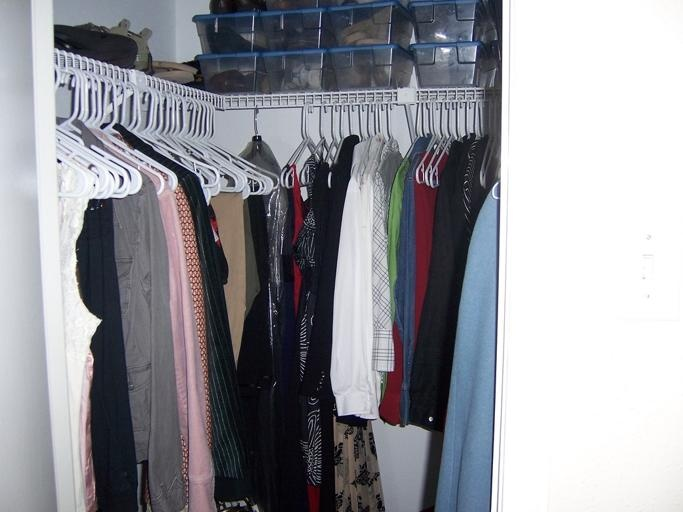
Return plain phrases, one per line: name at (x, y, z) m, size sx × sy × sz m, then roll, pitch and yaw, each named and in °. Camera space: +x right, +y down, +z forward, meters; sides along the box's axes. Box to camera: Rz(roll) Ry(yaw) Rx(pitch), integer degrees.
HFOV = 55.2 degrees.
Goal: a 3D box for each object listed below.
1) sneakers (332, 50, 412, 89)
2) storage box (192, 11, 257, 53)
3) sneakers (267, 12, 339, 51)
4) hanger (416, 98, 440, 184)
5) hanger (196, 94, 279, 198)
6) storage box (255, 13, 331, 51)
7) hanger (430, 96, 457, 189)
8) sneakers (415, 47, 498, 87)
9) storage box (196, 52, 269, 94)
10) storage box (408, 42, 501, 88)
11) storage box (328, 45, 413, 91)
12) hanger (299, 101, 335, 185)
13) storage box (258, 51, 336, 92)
sneakers at (0.087, -0.603, 2.118) m, size 0.180 × 0.088 × 0.135 m, roll 1°, pitch 9°, yaw 16°
storage box at (-0.363, -0.720, 2.158) m, size 0.119 × 0.087 × 0.191 m, roll 1°, pitch 16°, yaw 3°
sneakers at (-0.151, -0.710, 2.116) m, size 0.107 × 0.083 × 0.171 m, roll 5°, pitch 13°, yaw 21°
hanger at (0.285, -0.369, 2.144) m, size 0.014 × 0.382 × 0.221 m, roll -4°, pitch -16°, yaw 21°
hanger at (-0.341, -0.371, 2.195) m, size 0.156 × 0.250 × 0.327 m, roll -13°, pitch 22°, yaw -42°
storage box at (-0.158, -0.746, 2.179) m, size 0.158 × 0.122 × 0.223 m, roll -24°, pitch 32°, yaw -38°
hanger at (0.328, -0.356, 2.104) m, size 0.021 × 0.404 × 0.296 m, roll 4°, pitch 5°, yaw 19°
sneakers at (0.348, -0.597, 2.058) m, size 0.177 × 0.092 × 0.146 m, roll 2°, pitch 18°, yaw 10°
storage box at (-0.371, -0.600, 2.201) m, size 0.117 × 0.095 × 0.180 m, roll 3°, pitch 12°, yaw 14°
storage box at (0.347, -0.581, 2.069) m, size 0.196 × 0.101 × 0.157 m, roll 1°, pitch 16°, yaw 7°
storage box at (0.131, -0.637, 2.197) m, size 0.302 × 0.146 × 0.244 m, roll 3°, pitch 21°, yaw 18°
hanger at (-0.083, -0.397, 2.292) m, size 0.024 × 0.369 × 0.261 m, roll -8°, pitch 13°, yaw -31°
storage box at (-0.140, -0.610, 2.185) m, size 0.227 × 0.104 × 0.130 m, roll -1°, pitch -3°, yaw 13°
